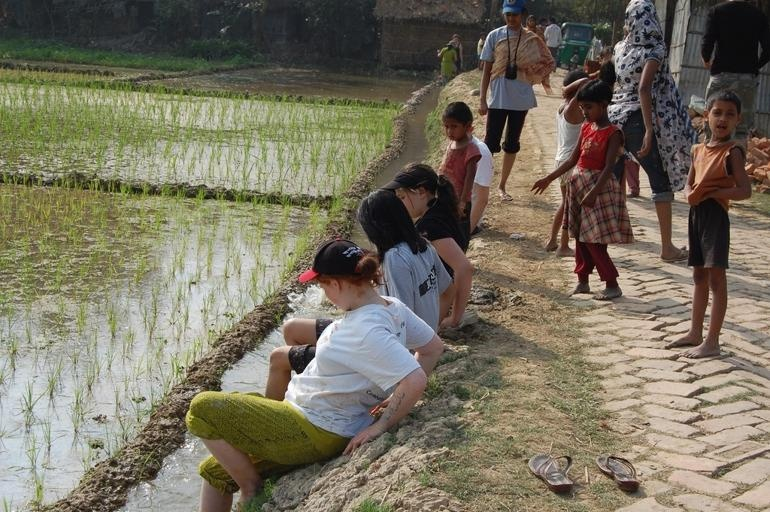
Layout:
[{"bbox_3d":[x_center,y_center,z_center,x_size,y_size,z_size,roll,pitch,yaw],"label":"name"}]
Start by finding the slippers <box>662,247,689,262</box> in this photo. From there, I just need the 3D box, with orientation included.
[{"bbox_3d":[2.986,-0.023,8.905,0.247,0.080,0.132,-2,7,-7],"label":"slippers"}]

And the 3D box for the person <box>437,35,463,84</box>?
[{"bbox_3d":[2.084,-6.299,27.565,0.586,1.438,1.768,3,12,8],"label":"person"}]

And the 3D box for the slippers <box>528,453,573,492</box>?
[{"bbox_3d":[1.189,1.521,6.158,0.186,0.132,0.301,-8,24,-19],"label":"slippers"}]

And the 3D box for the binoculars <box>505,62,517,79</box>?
[{"bbox_3d":[1.464,-2.137,10.067,0.133,0.187,0.066,2,12,3],"label":"binoculars"}]

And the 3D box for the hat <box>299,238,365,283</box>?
[{"bbox_3d":[-0.380,0.038,6.285,0.407,0.249,0.276,0,19,8],"label":"hat"}]

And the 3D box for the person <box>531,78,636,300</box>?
[{"bbox_3d":[1.980,-0.647,8.305,0.784,2.028,0.456,12,16,43],"label":"person"}]

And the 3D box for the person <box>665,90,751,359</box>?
[{"bbox_3d":[2.746,-0.269,7.256,0.522,2.168,0.591,6,13,22],"label":"person"}]

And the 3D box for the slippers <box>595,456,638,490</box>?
[{"bbox_3d":[1.662,1.518,6.180,0.172,0.089,0.256,-6,21,-24],"label":"slippers"}]
